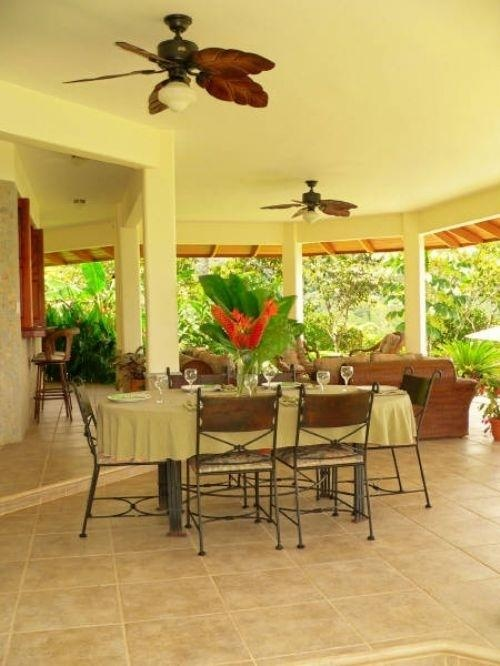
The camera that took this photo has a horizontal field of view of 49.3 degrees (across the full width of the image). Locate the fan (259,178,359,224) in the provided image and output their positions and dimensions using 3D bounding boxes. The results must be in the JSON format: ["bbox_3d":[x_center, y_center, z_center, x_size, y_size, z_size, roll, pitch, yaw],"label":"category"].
[{"bbox_3d":[0.891,-1.623,6.989,0.997,0.373,0.909,0,2,0],"label":"fan"}]

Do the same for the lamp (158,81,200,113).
[{"bbox_3d":[-0.388,-1.264,2.956,0.183,0.148,0.173,-5,15,-17],"label":"lamp"}]

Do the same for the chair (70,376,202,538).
[{"bbox_3d":[-0.612,0.741,3.042,0.916,0.823,0.774,0,3,-9],"label":"chair"}]

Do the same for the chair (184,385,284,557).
[{"bbox_3d":[-0.086,0.682,3.104,0.575,0.817,1.289,0,-1,-5],"label":"chair"}]

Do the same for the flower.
[{"bbox_3d":[-0.062,0.003,2.964,0.644,0.535,0.677,4,13,-26],"label":"flower"}]

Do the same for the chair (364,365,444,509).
[{"bbox_3d":[0.920,0.662,3.658,0.750,0.886,0.627,6,-5,-2],"label":"chair"}]
